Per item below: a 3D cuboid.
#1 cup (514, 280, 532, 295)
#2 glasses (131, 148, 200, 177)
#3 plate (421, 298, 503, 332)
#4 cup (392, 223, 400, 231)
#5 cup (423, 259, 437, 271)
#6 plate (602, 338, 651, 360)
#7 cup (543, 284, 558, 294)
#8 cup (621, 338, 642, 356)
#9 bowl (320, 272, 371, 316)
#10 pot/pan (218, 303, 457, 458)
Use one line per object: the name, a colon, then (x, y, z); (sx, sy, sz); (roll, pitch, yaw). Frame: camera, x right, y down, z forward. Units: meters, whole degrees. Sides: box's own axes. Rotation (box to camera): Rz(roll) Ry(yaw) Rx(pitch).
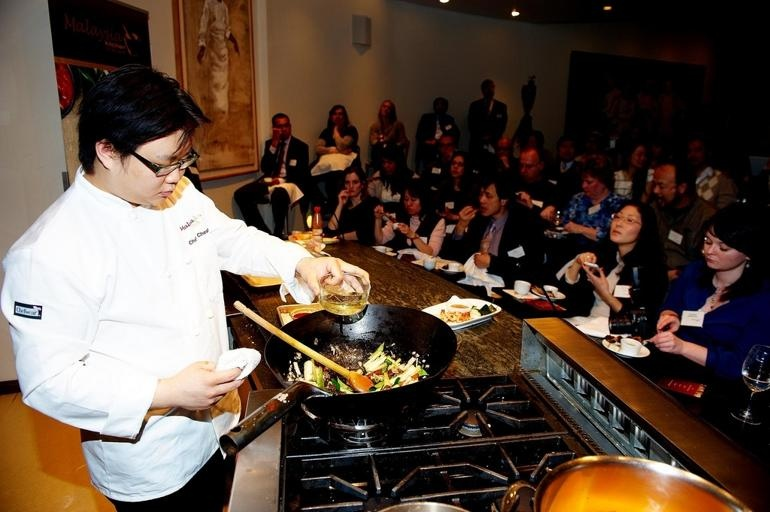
cup: (0.868, 0.179, 3.301); (0.084, 0.069, 0.089); (1, -2, 0)
glasses: (-0.669, -0.324, 1.654); (0.092, 0.080, 0.228); (14, 23, 28)
plate: (0.395, 0.224, 2.488); (0.265, 0.044, 0.191); (-12, 23, -41)
cup: (0.093, -0.304, 4.578); (0.059, 0.053, 0.059); (5, 27, -3)
cup: (0.309, 0.029, 3.599); (0.081, 0.064, 0.080); (0, 6, 0)
plate: (1.125, 0.425, 2.435); (0.171, 0.041, 0.170); (-3, 15, -17)
cup: (1.099, 0.195, 3.470); (0.069, 0.041, 0.068); (-2, 4, 0)
cup: (1.199, 0.426, 2.536); (0.078, 0.056, 0.083); (0, 11, 0)
bowl: (-0.152, 0.137, 1.921); (0.159, 0.103, 0.158); (2, 26, -1)
pot/pan: (-0.169, 0.265, 1.670); (0.461, 0.121, 0.706); (23, 28, 36)
